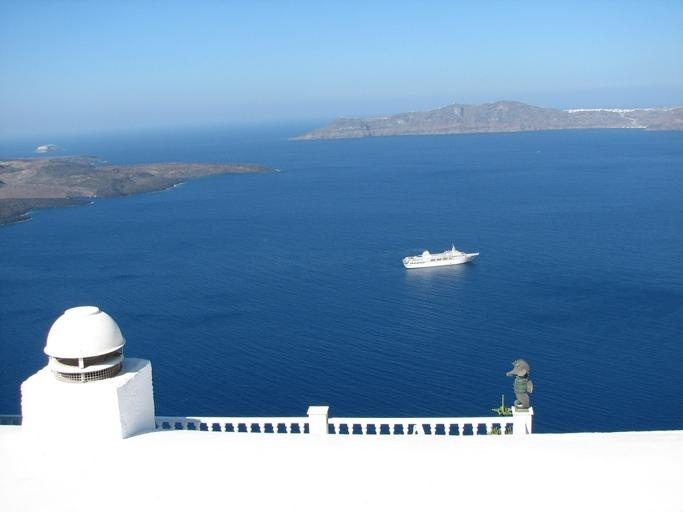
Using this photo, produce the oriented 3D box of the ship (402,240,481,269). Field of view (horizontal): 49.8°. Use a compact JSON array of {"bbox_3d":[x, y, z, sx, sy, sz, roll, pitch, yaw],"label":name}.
[{"bbox_3d":[7.020,-0.037,51.637,5.265,1.309,0.762,-7,48,-6],"label":"ship"}]
